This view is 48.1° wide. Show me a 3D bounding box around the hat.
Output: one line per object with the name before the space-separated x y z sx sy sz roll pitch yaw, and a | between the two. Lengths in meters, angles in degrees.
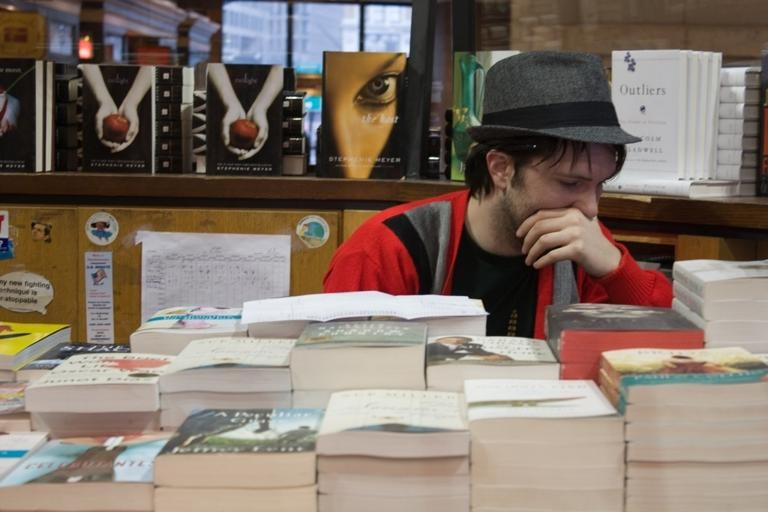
hat | 0.470 -0.471 2.584 0.386 0.162 0.319 8 13 35

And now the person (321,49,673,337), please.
person | 0.393 -0.030 2.957 1.278 1.177 0.899 0 6 -6
